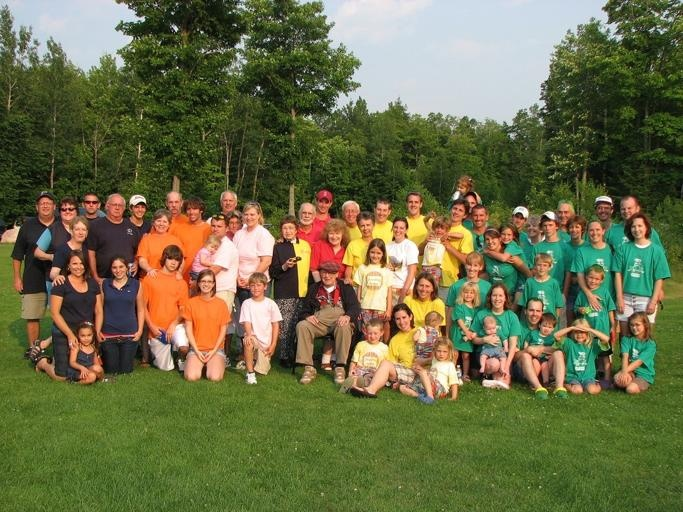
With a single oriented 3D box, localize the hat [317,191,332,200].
[{"bbox_3d":[-0.355,-1.274,14.680,0.223,0.161,0.314,6,-3,-4],"label":"hat"}]
